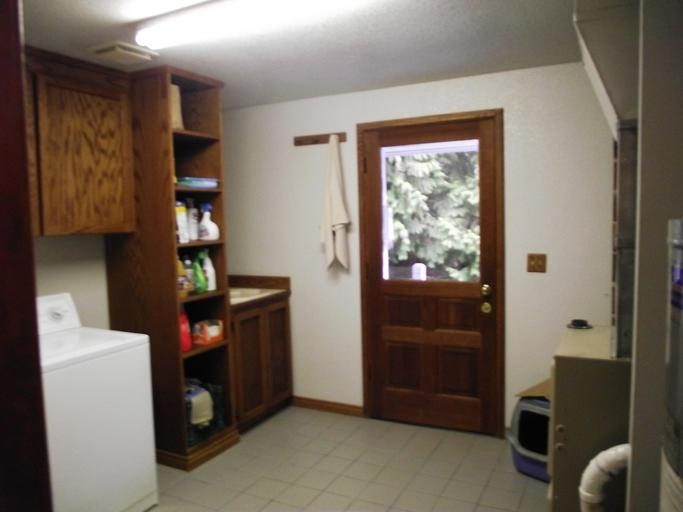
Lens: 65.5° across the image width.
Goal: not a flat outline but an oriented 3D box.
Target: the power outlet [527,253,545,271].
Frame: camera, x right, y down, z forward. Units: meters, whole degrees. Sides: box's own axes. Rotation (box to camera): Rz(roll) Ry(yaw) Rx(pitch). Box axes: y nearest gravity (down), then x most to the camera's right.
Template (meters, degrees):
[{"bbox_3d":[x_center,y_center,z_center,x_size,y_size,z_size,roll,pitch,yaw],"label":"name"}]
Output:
[{"bbox_3d":[1.219,0.034,3.323,0.102,0.109,0.011,4,5,28],"label":"power outlet"}]

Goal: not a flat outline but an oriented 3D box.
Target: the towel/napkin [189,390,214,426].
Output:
[{"bbox_3d":[-0.869,0.937,3.296,0.168,0.168,0.132,-5,11,-36],"label":"towel/napkin"}]

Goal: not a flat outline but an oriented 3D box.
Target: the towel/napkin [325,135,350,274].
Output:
[{"bbox_3d":[-0.029,-0.383,3.804,0.184,0.976,0.149,0,7,14],"label":"towel/napkin"}]

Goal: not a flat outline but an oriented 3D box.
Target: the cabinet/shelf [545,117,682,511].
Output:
[{"bbox_3d":[1.099,0.313,2.350,0.311,1.706,0.645,2,7,24],"label":"cabinet/shelf"}]
